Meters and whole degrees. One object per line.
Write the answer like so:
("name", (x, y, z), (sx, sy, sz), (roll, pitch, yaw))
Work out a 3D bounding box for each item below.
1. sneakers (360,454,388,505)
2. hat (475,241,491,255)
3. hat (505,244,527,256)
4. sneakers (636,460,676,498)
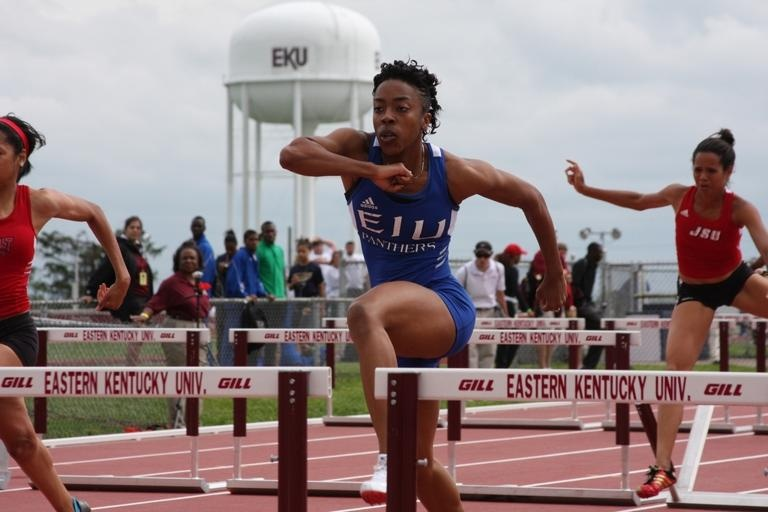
("sneakers", (-0.056, 1.534, 8.497), (0.179, 0.340, 0.181), (1, 2, 13))
("hat", (1.294, -0.080, 16.320), (0.217, 0.179, 0.315), (3, -13, 12))
("hat", (1.788, -0.059, 17.263), (0.256, 0.149, 0.413), (4, 3, 39))
("sneakers", (2.335, 1.939, 10.801), (0.483, 0.228, 0.183), (-12, 3, -43))
